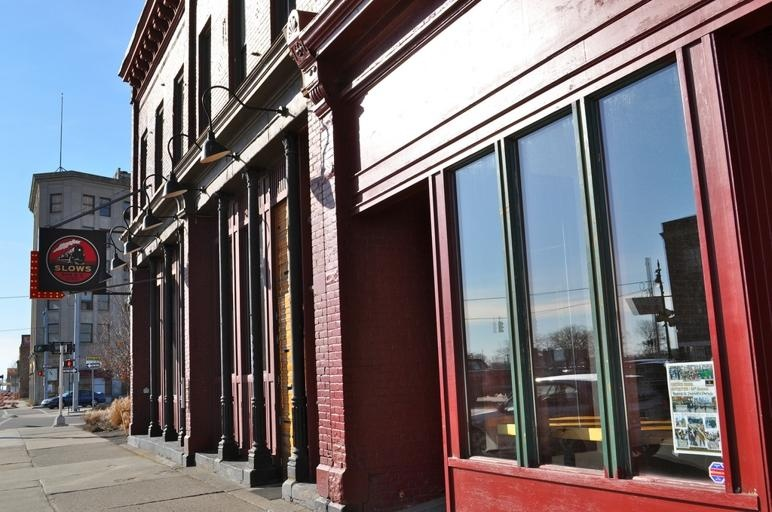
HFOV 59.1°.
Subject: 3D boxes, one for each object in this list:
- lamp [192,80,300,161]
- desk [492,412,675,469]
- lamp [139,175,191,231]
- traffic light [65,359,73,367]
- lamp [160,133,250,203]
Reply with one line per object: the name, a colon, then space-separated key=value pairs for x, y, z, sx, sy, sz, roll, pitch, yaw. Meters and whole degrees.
lamp: x=-2.470 y=-2.459 z=11.506 sx=1.649 sy=1.092 sz=0.613 roll=-11 pitch=24 yaw=7
desk: x=2.168 y=1.835 z=6.987 sx=0.286 sy=0.579 sz=1.271 roll=5 pitch=-12 yaw=-38
lamp: x=-5.100 y=-1.346 z=15.403 sx=1.709 sy=0.907 sz=0.646 roll=-26 pitch=-9 yaw=38
traffic light: x=-18.875 y=6.487 z=40.522 sx=0.459 sy=0.483 sz=1.019 roll=2 pitch=-13 yaw=-25
lamp: x=-3.761 y=-1.981 z=13.092 sx=2.098 sy=1.311 sz=0.712 roll=-20 pitch=-9 yaw=43
